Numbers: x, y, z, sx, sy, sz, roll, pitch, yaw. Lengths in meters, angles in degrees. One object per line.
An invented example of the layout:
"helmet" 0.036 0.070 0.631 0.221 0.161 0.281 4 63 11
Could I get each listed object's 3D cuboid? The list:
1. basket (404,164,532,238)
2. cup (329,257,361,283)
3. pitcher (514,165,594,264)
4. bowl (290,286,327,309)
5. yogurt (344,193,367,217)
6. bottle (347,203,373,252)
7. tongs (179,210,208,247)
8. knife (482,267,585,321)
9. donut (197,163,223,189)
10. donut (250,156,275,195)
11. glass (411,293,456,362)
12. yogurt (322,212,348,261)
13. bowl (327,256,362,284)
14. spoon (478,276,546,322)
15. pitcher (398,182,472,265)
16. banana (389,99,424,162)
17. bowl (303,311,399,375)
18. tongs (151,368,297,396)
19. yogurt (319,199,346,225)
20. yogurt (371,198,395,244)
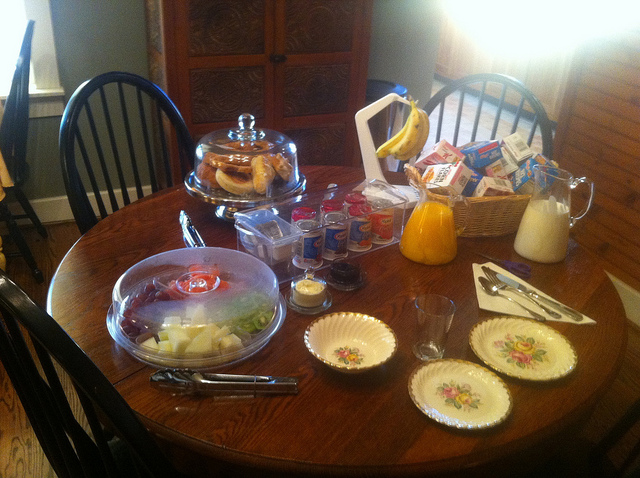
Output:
"basket" 0.472 -0.081 1.365 0.266 0.115 0.261 0 23 2
"cup" 0.060 0.072 1.198 0.064 0.041 0.064 1 30 -1
"pitcher" 0.666 -0.070 1.293 0.145 0.258 0.140 15 33 23
"bowl" -0.029 0.141 1.101 0.093 0.041 0.049 -1 30 -4
"yogurt" 0.103 -0.101 1.269 0.058 0.059 0.061 1 31 1
"bottle" 0.112 -0.036 1.316 0.080 0.124 0.080 -1 33 0
"tongs" -0.394 -0.024 1.358 0.048 0.034 0.245 -18 39 -18
"knife" 0.551 0.150 1.164 0.027 0.010 0.194 -24 46 -33
"donut" -0.358 -0.187 1.448 0.081 0.049 0.082 13 17 -28
"donut" -0.182 -0.200 1.445 0.065 0.041 0.122 1 61 -9
"glass" 0.258 0.203 1.039 0.092 0.100 0.148 -2 69 28
"yogurt" 0.041 -0.015 1.271 0.081 0.133 0.086 10 34 18
"bowl" 0.061 0.072 1.201 0.068 0.042 0.067 1 31 -1
"spoon" 0.486 0.158 1.143 0.025 0.022 0.142 -26 44 -22
"pitcher" 0.321 -0.018 1.317 0.144 0.258 0.170 -13 33 -29
"banana" 0.310 -0.349 1.521 0.100 0.230 0.174 13 32 22
"bowl" 0.063 0.228 0.955 0.195 0.058 0.211 2 19 -1
"tongs" -0.191 0.288 0.889 0.288 0.039 0.035 2 30 1
"yogurt" 0.037 -0.082 1.238 0.062 0.064 0.065 -1 28 -2
"yogurt" 0.187 -0.059 1.363 0.083 0.133 0.087 -5 23 -8
